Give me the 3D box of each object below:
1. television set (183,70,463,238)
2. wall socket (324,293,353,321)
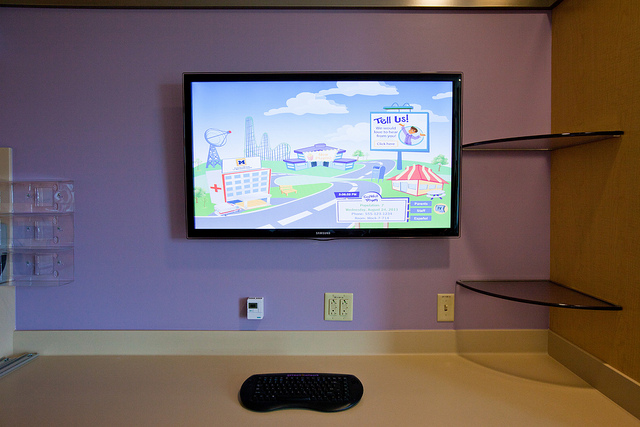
[{"bbox_3d":[0.020,-0.290,2.674,1.476,0.825,0.023,0,8,2],"label":"television set"},{"bbox_3d":[0.105,0.497,2.745,0.149,0.135,0.015,1,0,-4],"label":"wall socket"}]
